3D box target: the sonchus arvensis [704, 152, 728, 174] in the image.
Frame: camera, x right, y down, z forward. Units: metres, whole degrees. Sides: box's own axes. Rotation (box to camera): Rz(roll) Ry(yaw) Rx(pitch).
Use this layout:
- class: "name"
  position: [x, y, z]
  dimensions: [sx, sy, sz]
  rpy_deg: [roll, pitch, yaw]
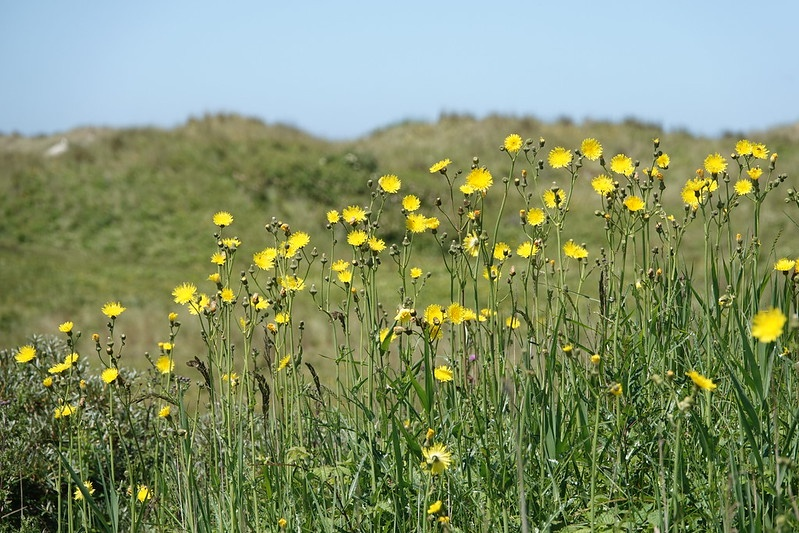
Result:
- class: "sonchus arvensis"
  position: [2.177, -0.686, 9.152]
  dimensions: [0.140, 0.186, 0.058]
  rpy_deg: [4, -20, -12]

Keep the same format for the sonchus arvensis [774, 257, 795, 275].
- class: "sonchus arvensis"
  position: [2.651, 0.024, 9.017]
  dimensions: [0.103, 0.069, 0.121]
  rpy_deg: [6, 13, 2]

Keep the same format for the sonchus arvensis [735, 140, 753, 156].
- class: "sonchus arvensis"
  position: [2.433, -0.822, 9.253]
  dimensions: [0.119, 0.125, 0.160]
  rpy_deg: [-7, -4, 16]

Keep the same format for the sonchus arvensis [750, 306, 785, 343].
- class: "sonchus arvensis"
  position: [2.317, 0.369, 8.261]
  dimensions: [0.204, 0.148, 0.206]
  rpy_deg: [-7, -4, 2]
